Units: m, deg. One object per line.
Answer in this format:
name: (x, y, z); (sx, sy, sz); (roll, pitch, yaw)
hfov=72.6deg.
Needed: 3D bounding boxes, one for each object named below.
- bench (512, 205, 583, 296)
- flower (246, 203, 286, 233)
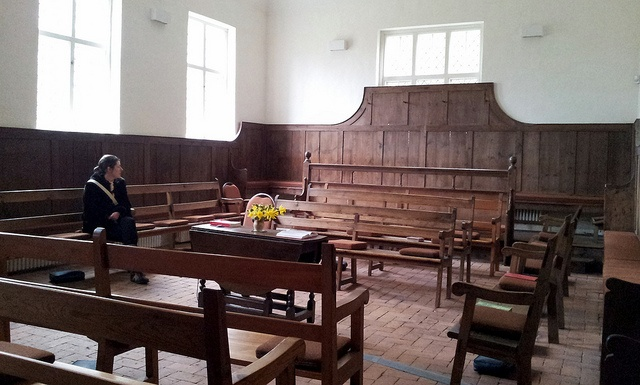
bench: (3.420, 0.873, 6.642); (0.647, 1.037, 1.724); (10, 20, 37)
flower: (-0.799, 0.347, 6.071); (0.566, 0.380, 0.586); (6, -4, -40)
